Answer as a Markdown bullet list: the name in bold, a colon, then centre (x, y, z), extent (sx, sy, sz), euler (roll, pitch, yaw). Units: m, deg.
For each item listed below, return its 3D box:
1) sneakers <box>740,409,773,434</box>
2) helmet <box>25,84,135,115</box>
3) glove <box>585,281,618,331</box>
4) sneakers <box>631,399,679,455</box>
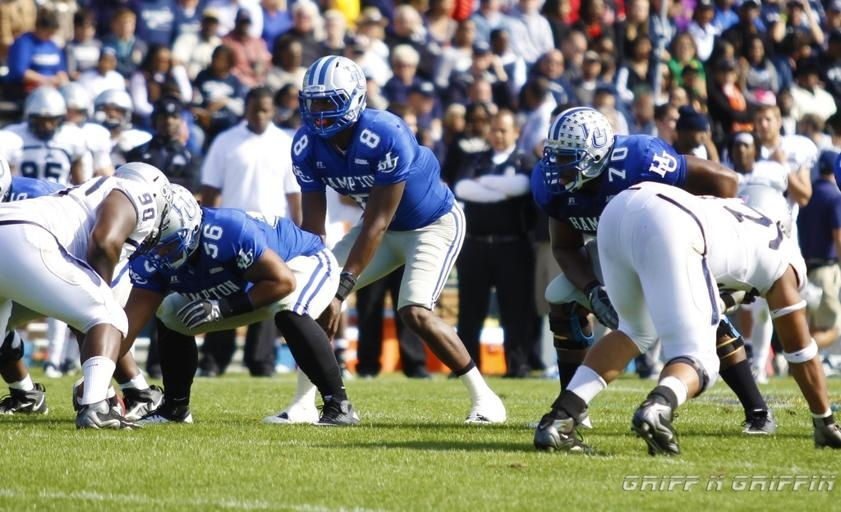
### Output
- **sneakers**: centre (2.623, 1.268, 9.178), extent (0.234, 0.136, 0.313), euler (1, -1, 15)
- **helmet**: centre (-3.761, -1.616, 12.316), extent (0.339, 0.248, 0.568), euler (-36, -13, 28)
- **glove**: centre (1.397, 0.387, 9.000), extent (0.125, 0.302, 0.227), euler (-33, -9, -12)
- **sneakers**: centre (1.611, 1.170, 8.135), extent (0.130, 0.372, 0.204), euler (-20, 24, 46)
